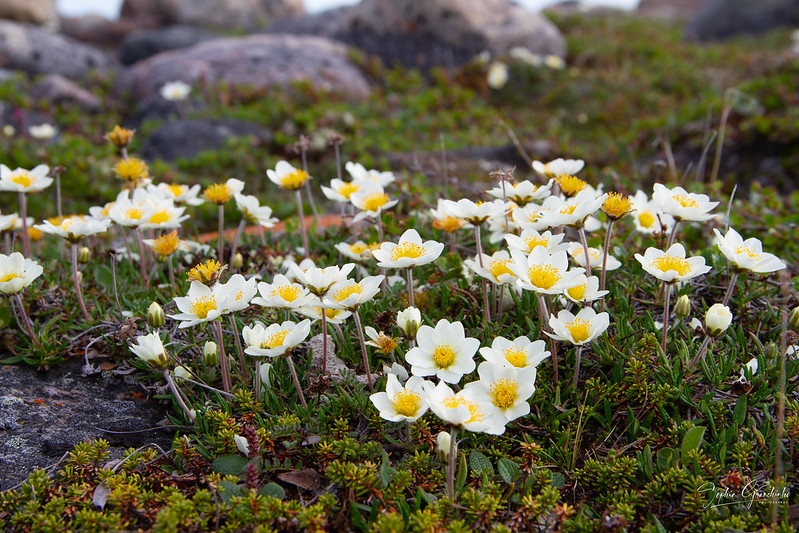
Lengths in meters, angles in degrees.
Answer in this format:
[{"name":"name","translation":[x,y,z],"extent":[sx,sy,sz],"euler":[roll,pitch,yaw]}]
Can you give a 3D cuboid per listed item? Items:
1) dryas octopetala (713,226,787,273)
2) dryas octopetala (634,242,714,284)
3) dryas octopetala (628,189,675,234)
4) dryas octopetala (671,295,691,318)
[{"name":"dryas octopetala","translation":[2.128,-0.068,4.663],"extent":[0.345,0.146,0.346],"euler":[4,23,-40]},{"name":"dryas octopetala","translation":[1.637,0.007,4.648],"extent":[0.413,0.243,0.297],"euler":[8,35,11]},{"name":"dryas octopetala","translation":[1.769,-0.371,5.372],"extent":[0.289,0.121,0.317],"euler":[-1,57,-44]},{"name":"dryas octopetala","translation":[1.775,0.264,4.828],"extent":[0.088,0.164,0.099],"euler":[1,26,-3]}]
